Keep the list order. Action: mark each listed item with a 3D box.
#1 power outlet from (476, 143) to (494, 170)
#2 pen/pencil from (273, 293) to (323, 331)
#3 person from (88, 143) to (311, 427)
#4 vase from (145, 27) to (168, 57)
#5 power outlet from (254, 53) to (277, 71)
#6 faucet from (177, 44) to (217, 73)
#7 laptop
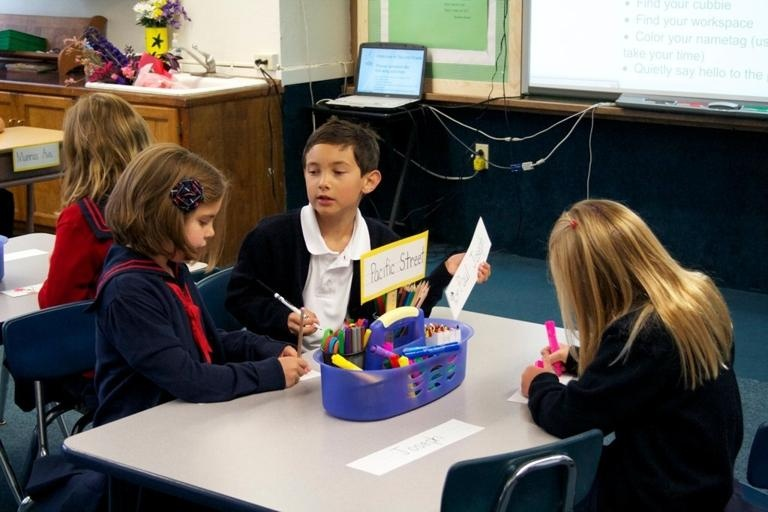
[{"bbox_3d":[0.754,-0.747,4.434,0.152,0.269,0.027,11,21,33],"label":"power outlet"},{"bbox_3d":[-0.262,0.177,1.853,0.158,0.017,0.015,43,39,5],"label":"pen/pencil"},{"bbox_3d":[-0.498,0.129,1.692,0.592,0.807,0.509,1,-1,-32],"label":"person"},{"bbox_3d":[-1.606,-1.520,4.246,0.152,0.206,0.361,-5,16,-20],"label":"vase"},{"bbox_3d":[-0.827,-1.359,4.263,0.196,0.135,0.107,8,13,29],"label":"power outlet"},{"bbox_3d":[-1.368,-1.445,4.400,0.257,0.197,0.354,-4,15,-16],"label":"faucet"},{"bbox_3d":[-0.032,-1.308,4.300,0.584,0.481,0.550,5,15,17],"label":"laptop"}]
